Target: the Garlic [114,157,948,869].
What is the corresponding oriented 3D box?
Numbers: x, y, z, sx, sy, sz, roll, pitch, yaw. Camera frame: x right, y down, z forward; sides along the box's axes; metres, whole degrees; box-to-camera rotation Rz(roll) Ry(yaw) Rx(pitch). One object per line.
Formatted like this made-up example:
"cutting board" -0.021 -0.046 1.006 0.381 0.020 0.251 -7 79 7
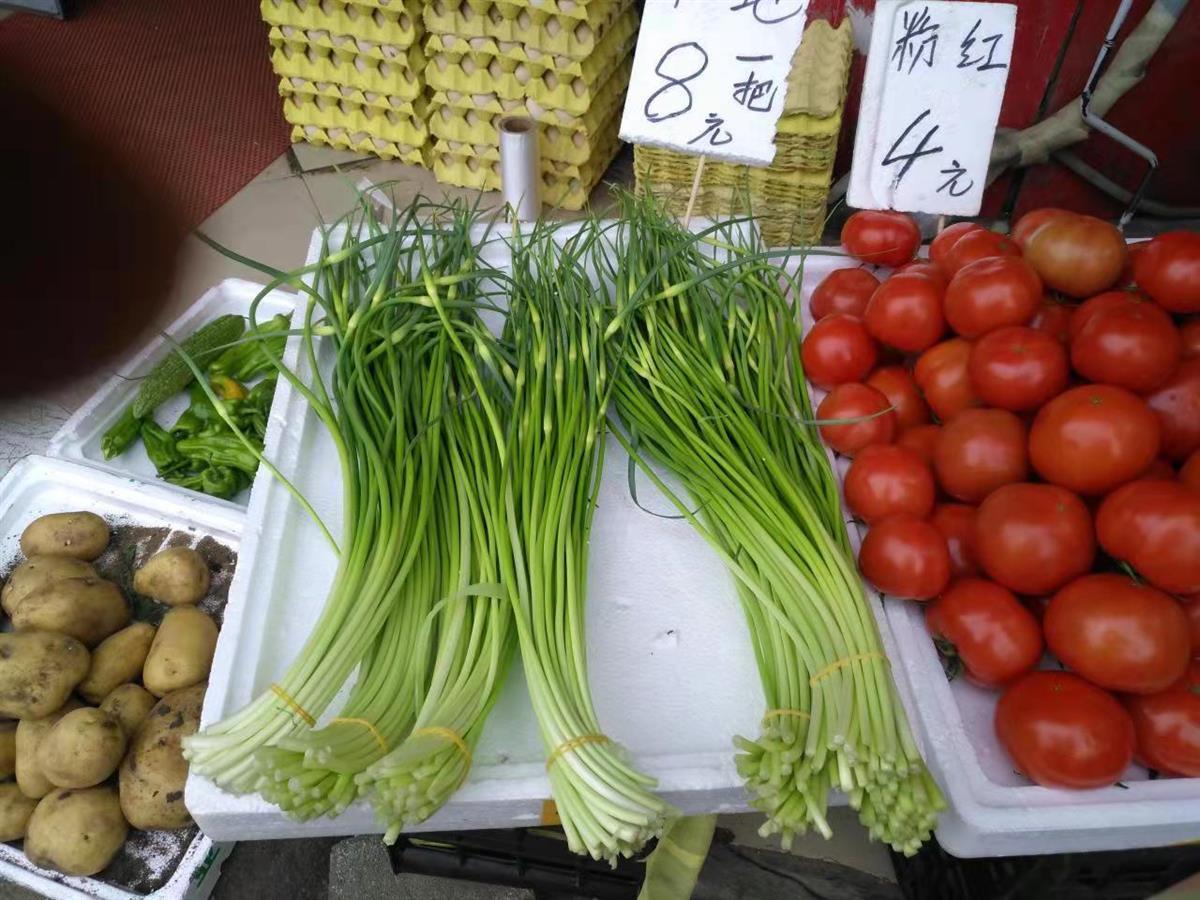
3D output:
"Garlic" -0.109 0.041 1.648 1.118 0.357 1.381 -4 56 -3
